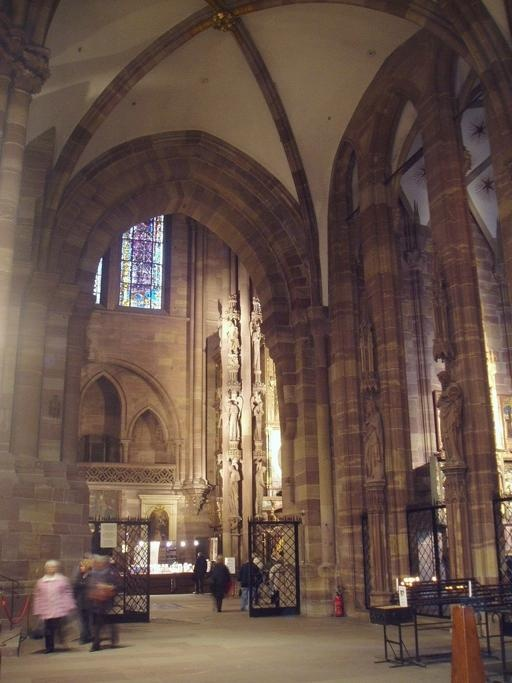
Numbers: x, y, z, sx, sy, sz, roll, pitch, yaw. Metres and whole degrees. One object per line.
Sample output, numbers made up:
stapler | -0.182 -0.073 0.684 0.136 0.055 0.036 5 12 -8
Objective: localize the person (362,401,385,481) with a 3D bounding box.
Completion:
person | 2.045 1.743 11.024 0.240 1.452 0.494 5 -18 -19

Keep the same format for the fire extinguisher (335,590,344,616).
fire extinguisher | 1.505 4.688 11.209 0.159 0.410 0.218 -3 -17 5

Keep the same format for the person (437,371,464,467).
person | 2.583 1.010 8.341 0.211 1.298 0.437 6 -18 -22

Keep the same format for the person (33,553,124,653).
person | -2.034 3.031 7.297 0.882 1.046 1.956 2 -17 -11
